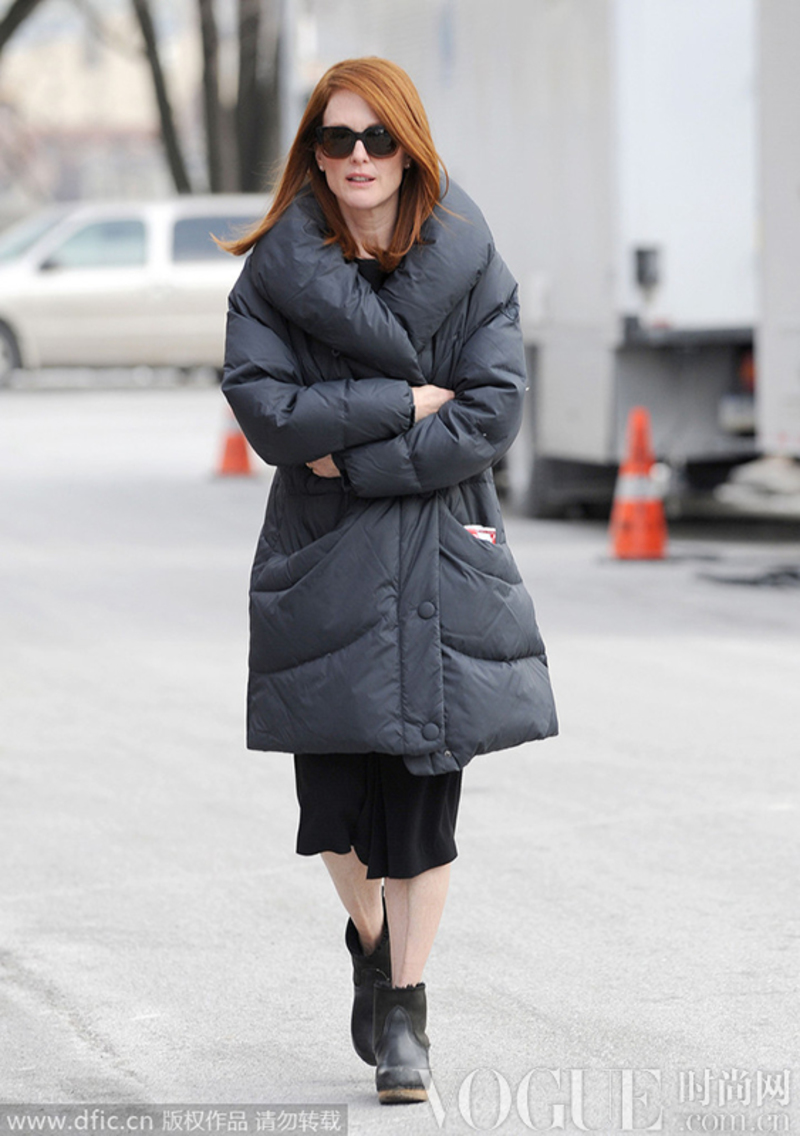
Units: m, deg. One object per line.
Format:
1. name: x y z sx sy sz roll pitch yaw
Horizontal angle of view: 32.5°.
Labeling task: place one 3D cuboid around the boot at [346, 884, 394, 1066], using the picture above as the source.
1. boot: -0.055 0.674 2.179 0.075 0.143 0.208 -6 54 5

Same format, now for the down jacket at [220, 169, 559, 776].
1. down jacket: -0.007 -0.131 2.046 0.500 0.882 0.366 -2 10 -6

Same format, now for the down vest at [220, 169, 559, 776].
1. down vest: -0.007 -0.131 2.046 0.500 0.882 0.366 -2 10 -6
